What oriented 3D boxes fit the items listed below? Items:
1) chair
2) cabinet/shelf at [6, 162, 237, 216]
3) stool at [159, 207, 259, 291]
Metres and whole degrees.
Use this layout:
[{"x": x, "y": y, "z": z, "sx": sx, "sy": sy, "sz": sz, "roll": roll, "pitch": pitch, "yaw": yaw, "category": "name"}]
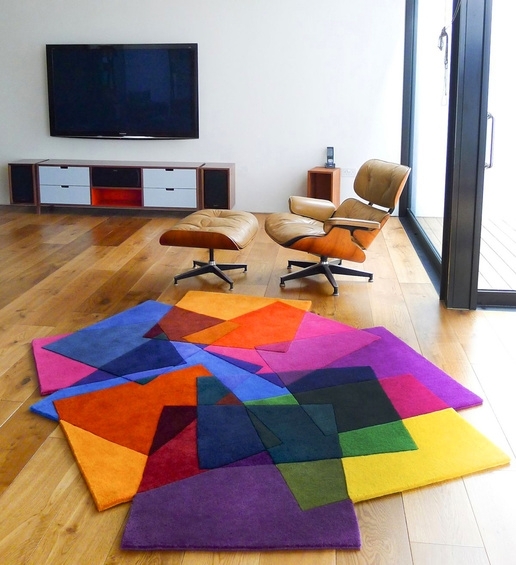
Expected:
[{"x": 0.536, "y": -0.412, "z": 3.338, "sx": 0.958, "sy": 0.816, "sz": 0.843, "roll": 3, "pitch": 20, "yaw": 15, "category": "chair"}, {"x": -1.543, "y": -1.112, "z": 5.394, "sx": 2.519, "sy": 0.558, "sz": 0.379, "roll": 0, "pitch": 20, "yaw": 5, "category": "cabinet/shelf"}, {"x": -0.310, "y": -0.295, "z": 3.284, "sx": 0.566, "sy": 0.383, "sz": 0.659, "roll": 3, "pitch": 21, "yaw": 7, "category": "stool"}]
